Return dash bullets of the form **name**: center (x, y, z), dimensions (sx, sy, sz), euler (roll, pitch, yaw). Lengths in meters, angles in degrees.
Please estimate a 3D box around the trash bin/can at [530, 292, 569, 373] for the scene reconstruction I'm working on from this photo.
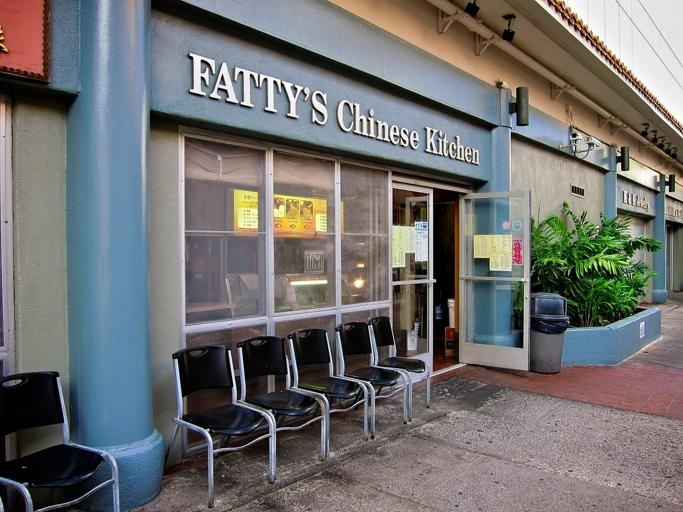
- **trash bin/can**: center (2.827, 1.070, 7.074), dimensions (0.486, 1.034, 0.316), euler (2, 6, 19)

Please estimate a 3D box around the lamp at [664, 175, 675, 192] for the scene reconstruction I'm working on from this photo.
- **lamp**: center (10.160, -2.253, 16.005), dimensions (0.209, 0.502, 1.161), euler (4, 7, 36)

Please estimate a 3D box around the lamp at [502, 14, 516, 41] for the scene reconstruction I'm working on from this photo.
- **lamp**: center (2.277, -3.135, 7.049), dimensions (0.216, 0.343, 0.179), euler (-1, 9, -29)

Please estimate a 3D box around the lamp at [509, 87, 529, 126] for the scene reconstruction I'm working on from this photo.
- **lamp**: center (2.580, -2.184, 7.512), dimensions (0.228, 0.553, 0.249), euler (3, 6, 28)

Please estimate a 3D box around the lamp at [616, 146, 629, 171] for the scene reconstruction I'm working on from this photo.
- **lamp**: center (6.488, -2.260, 11.930), dimensions (0.232, 0.554, 0.575), euler (4, 6, 32)
